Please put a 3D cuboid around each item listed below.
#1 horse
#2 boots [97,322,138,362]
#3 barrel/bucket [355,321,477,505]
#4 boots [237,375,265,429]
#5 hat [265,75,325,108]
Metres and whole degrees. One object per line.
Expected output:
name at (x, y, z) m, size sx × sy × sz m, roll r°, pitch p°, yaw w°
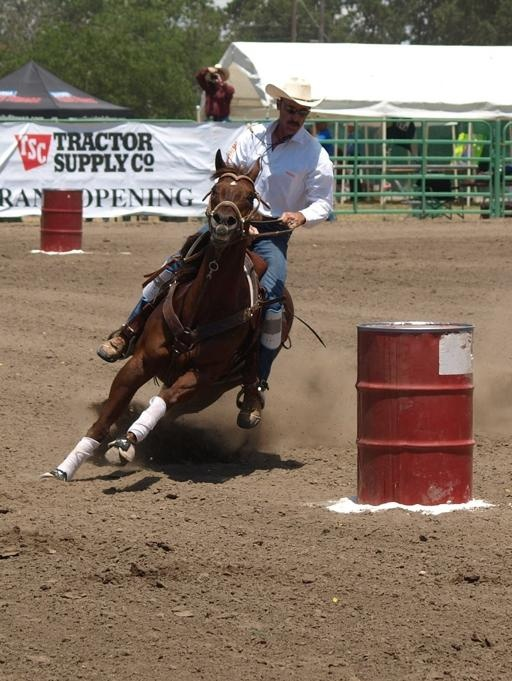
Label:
horse at (-0.437, -0.229, 5.967) m, size 1.137 × 1.788 × 1.475 m, roll 0°, pitch 8°, yaw 2°
boots at (-0.906, -0.009, 6.562) m, size 0.206 × 0.146 × 0.334 m, roll 15°, pitch 32°, yaw 26°
barrel/bucket at (0.850, 0.424, 5.261) m, size 0.622 × 1.025 × 0.252 m, roll 1°, pitch 8°, yaw 8°
boots at (-0.041, 0.425, 6.773) m, size 0.155 × 0.250 × 0.400 m, roll 0°, pitch 22°, yaw 10°
hat at (0.267, -1.743, 6.636) m, size 0.336 × 0.124 × 0.322 m, roll 15°, pitch -14°, yaw 36°
